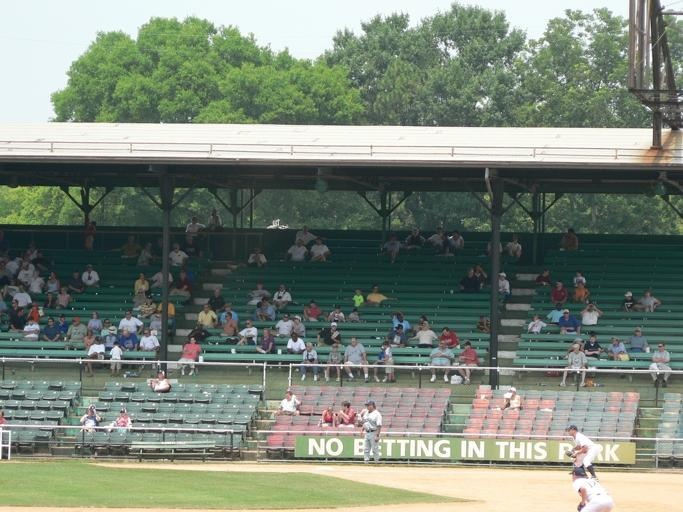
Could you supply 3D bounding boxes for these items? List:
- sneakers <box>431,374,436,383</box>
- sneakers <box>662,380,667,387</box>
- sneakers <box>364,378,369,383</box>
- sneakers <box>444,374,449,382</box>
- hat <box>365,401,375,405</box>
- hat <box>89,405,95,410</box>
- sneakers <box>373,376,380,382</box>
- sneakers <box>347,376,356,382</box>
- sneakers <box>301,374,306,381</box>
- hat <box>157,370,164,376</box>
[{"bbox_3d":[3.562,4.803,85.124,0.209,0.316,0.114,4,-6,-3],"label":"sneakers"},{"bbox_3d":[12.511,4.959,84.323,0.199,0.298,0.210,-3,-4,26],"label":"sneakers"},{"bbox_3d":[0.967,4.863,85.274,0.189,0.214,0.082,5,-6,-17],"label":"sneakers"},{"bbox_3d":[4.098,4.804,85.157,0.189,0.314,0.214,3,-6,-1],"label":"sneakers"},{"bbox_3d":[1.057,5.626,83.168,0.236,0.105,0.161,5,1,1],"label":"hat"},{"bbox_3d":[-9.583,5.831,83.414,0.214,0.194,0.060,-2,1,-21],"label":"hat"},{"bbox_3d":[1.367,4.855,85.316,0.220,0.239,0.238,3,-5,-2],"label":"sneakers"},{"bbox_3d":[0.378,4.849,85.293,0.182,0.223,0.082,0,-2,0],"label":"sneakers"},{"bbox_3d":[-1.521,4.793,85.552,0.212,0.232,0.585,0,-7,7],"label":"sneakers"},{"bbox_3d":[-7.053,4.642,84.903,0.242,0.301,0.230,0,-8,2],"label":"hat"}]
